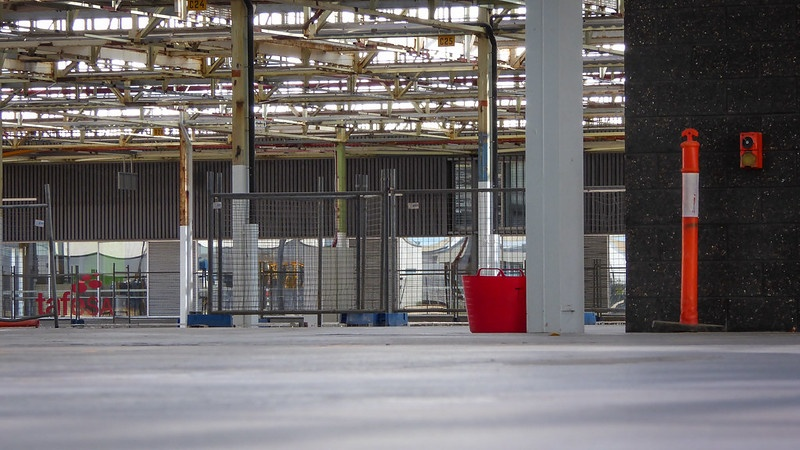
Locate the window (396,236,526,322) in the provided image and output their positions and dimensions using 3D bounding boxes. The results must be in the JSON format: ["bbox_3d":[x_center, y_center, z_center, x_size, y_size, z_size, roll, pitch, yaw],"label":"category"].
[{"bbox_3d":[2.190,1.407,45.568,2.263,2.229,4.741,2,-4,-30],"label":"window"}]

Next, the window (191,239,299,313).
[{"bbox_3d":[-3.875,1.180,38.587,3.299,1.780,1.831,-1,13,-1],"label":"window"}]
